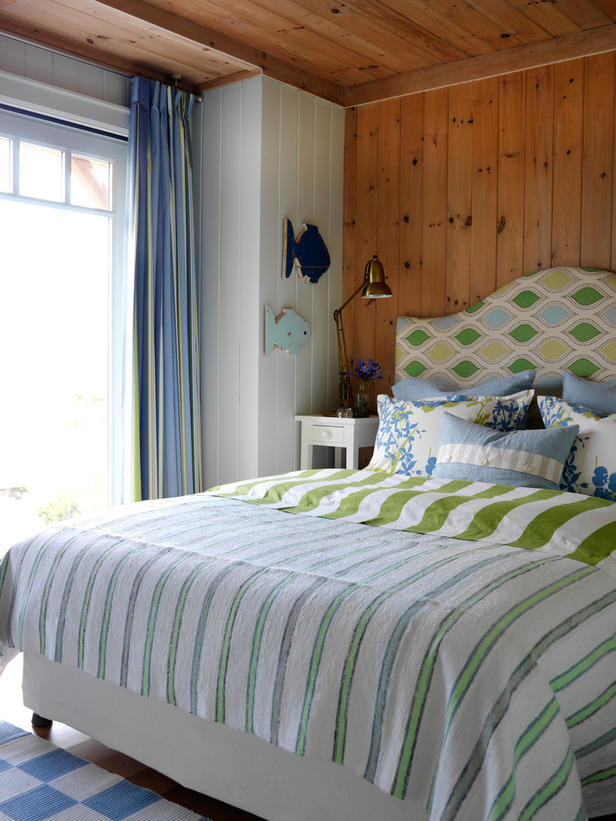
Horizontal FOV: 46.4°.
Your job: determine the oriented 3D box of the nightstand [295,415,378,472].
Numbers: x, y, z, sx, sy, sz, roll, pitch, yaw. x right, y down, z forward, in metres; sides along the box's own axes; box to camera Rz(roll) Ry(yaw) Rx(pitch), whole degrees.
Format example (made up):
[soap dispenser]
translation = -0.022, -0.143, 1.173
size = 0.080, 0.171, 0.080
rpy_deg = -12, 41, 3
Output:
[nightstand]
translation = 0.124, 0.098, 3.529
size = 0.318, 0.442, 0.303
rpy_deg = 5, 7, 39
